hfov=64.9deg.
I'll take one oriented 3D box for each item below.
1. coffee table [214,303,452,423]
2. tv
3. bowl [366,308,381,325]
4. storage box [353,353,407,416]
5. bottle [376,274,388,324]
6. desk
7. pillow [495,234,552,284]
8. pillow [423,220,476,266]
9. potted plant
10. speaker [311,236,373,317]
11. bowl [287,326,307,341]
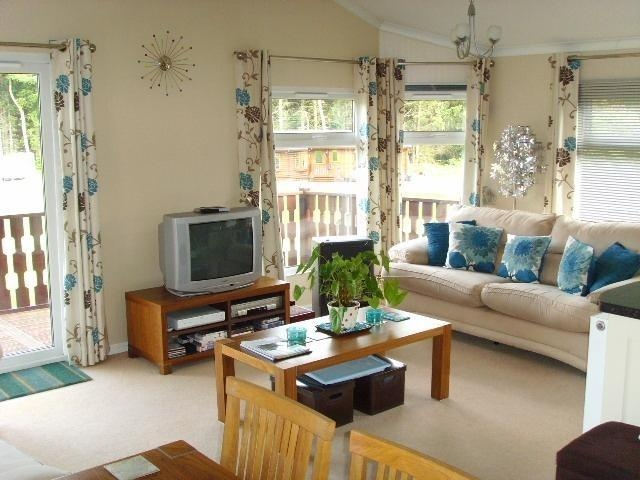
[{"bbox_3d":[0.373,0.949,3.528,1.059,0.372,0.584,-13,-12,5],"label":"coffee table"},{"bbox_3d":[-1.036,0.096,4.582,0.562,0.727,0.946,11,14,43],"label":"tv"},{"bbox_3d":[0.397,0.564,3.684,0.103,0.112,0.125,-2,4,-36],"label":"bowl"},{"bbox_3d":[0.420,1.040,3.668,0.359,0.240,0.347,-3,6,-37],"label":"storage box"},{"bbox_3d":[0.650,0.595,5.301,0.156,0.557,0.082,0,3,3],"label":"bottle"},{"bbox_3d":[-0.933,0.725,4.636,1.288,0.519,0.666,-8,10,-38],"label":"desk"},{"bbox_3d":[1.998,0.145,4.859,0.168,0.550,0.625,24,-16,-17],"label":"pillow"},{"bbox_3d":[1.250,0.032,5.332,0.515,0.472,0.152,3,-7,20],"label":"pillow"},{"bbox_3d":[0.186,0.435,3.583,0.550,0.368,0.595,-6,-9,25],"label":"potted plant"},{"bbox_3d":[0.252,0.296,5.236,0.562,0.857,0.337,-6,32,-3],"label":"speaker"},{"bbox_3d":[-0.157,0.631,3.394,0.102,0.066,0.096,2,1,0],"label":"bowl"}]
